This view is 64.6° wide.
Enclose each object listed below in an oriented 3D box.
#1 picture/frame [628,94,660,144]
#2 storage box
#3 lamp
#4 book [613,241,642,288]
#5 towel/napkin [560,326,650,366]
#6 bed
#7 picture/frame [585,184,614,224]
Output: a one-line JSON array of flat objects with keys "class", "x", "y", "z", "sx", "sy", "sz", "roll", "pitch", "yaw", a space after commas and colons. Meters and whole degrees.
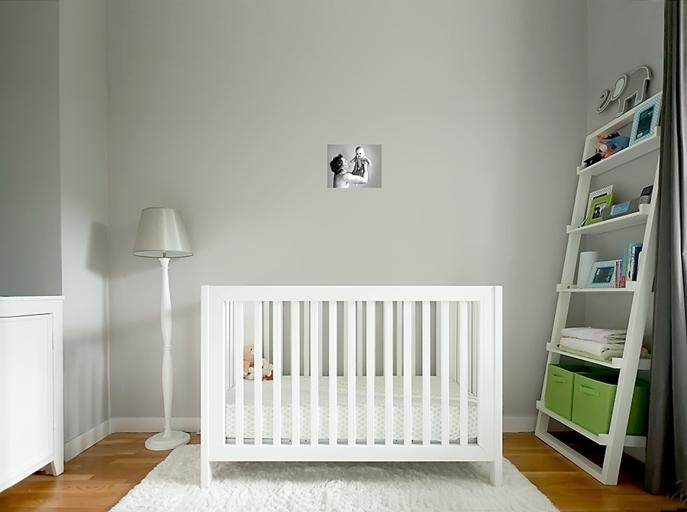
[{"class": "picture/frame", "x": 1.831, "y": -0.832, "z": 3.319, "sx": 0.031, "sy": 0.364, "sz": 0.262, "roll": 14, "pitch": -23, "yaw": -3}, {"class": "storage box", "x": 1.564, "y": 0.887, "z": 3.345, "sx": 0.285, "sy": 0.264, "sz": 0.519, "roll": 5, "pitch": -8, "yaw": -7}, {"class": "lamp", "x": -1.211, "y": 0.463, "z": 3.657, "sx": 0.394, "sy": 1.581, "sz": 0.403, "roll": 1, "pitch": 1, "yaw": -6}, {"class": "book", "x": 1.721, "y": 0.060, "z": 3.309, "sx": 0.132, "sy": 0.255, "sz": 0.243, "roll": 4, "pitch": -6, "yaw": 38}, {"class": "towel/napkin", "x": 1.556, "y": 0.545, "z": 3.429, "sx": 0.179, "sy": 0.155, "sz": 0.541, "roll": 2, "pitch": 0, "yaw": -22}, {"class": "bed", "x": 0.031, "y": 0.744, "z": 3.481, "sx": 1.627, "sy": 1.273, "sz": 0.921, "roll": 1, "pitch": 3, "yaw": 1}, {"class": "picture/frame", "x": 1.699, "y": -0.342, "z": 3.626, "sx": 0.021, "sy": 0.298, "sz": 0.223, "roll": 20, "pitch": -23, "yaw": -12}]
